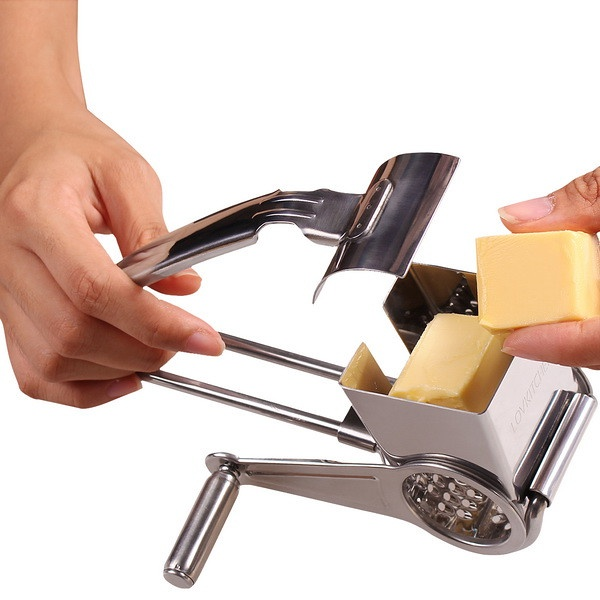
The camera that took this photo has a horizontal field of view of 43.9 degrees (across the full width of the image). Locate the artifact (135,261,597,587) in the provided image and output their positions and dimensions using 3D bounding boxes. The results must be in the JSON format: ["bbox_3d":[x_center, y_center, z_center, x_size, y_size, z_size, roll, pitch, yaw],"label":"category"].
[{"bbox_3d":[-0.049,0.241,1.531,1.122,0.497,0.390,7,-47,13],"label":"artifact"}]

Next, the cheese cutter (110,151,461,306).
[{"bbox_3d":[-0.033,-0.114,1.251,0.555,0.285,0.148,-3,-25,40],"label":"cheese cutter"}]
